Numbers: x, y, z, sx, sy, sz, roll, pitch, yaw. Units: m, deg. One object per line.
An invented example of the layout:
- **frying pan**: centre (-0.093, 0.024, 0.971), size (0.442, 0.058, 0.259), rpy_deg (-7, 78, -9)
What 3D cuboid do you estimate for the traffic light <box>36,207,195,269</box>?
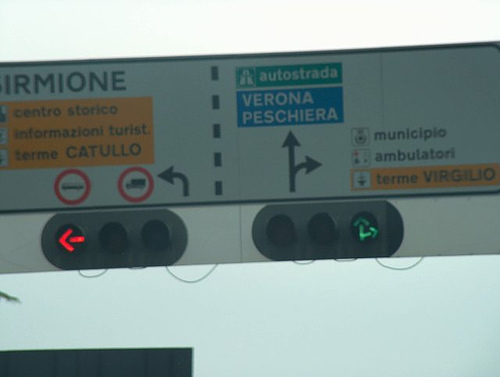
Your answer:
- **traffic light**: centre (-1.770, 0.633, 16.743), size (2.033, 0.635, 0.405), rpy_deg (-3, -32, 2)
